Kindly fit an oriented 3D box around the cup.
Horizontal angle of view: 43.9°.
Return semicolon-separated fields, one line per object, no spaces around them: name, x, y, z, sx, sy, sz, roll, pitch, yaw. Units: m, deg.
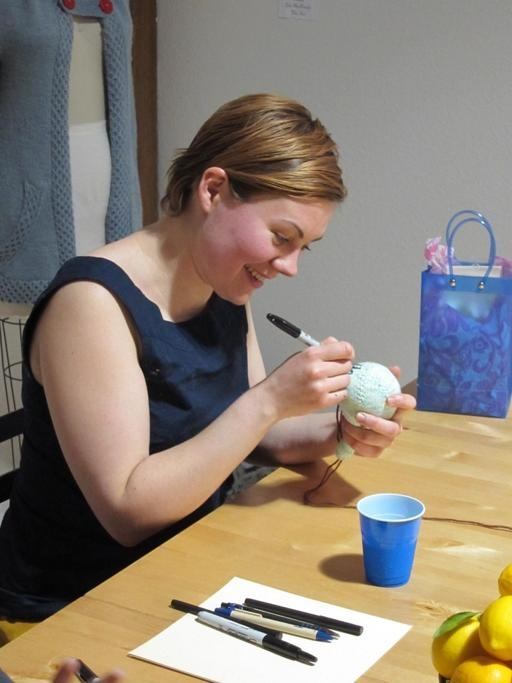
cup;0.150;0.222;0.721;0.070;0.090;0.107;3;11;13
